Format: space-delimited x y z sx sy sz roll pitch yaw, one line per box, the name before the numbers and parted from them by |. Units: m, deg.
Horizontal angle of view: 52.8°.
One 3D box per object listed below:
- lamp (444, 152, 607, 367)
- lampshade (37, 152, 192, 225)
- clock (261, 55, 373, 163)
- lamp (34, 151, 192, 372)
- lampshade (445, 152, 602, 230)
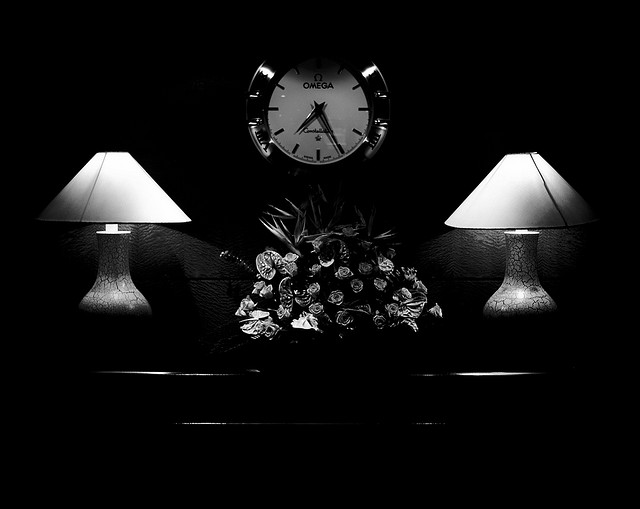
lamp | 0.833 0.013 2.721 0.589 0.822 0.568 4 13 27
lampshade | -0.825 -0.231 2.572 0.354 0.176 0.369 1 2 11
clock | -0.012 -0.626 2.686 0.375 0.414 0.020 2 3 2
lamp | -0.837 0.007 3.122 0.757 1.161 0.827 0 2 -11
lampshade | 0.806 -0.210 2.561 0.363 0.195 0.383 0 2 35
